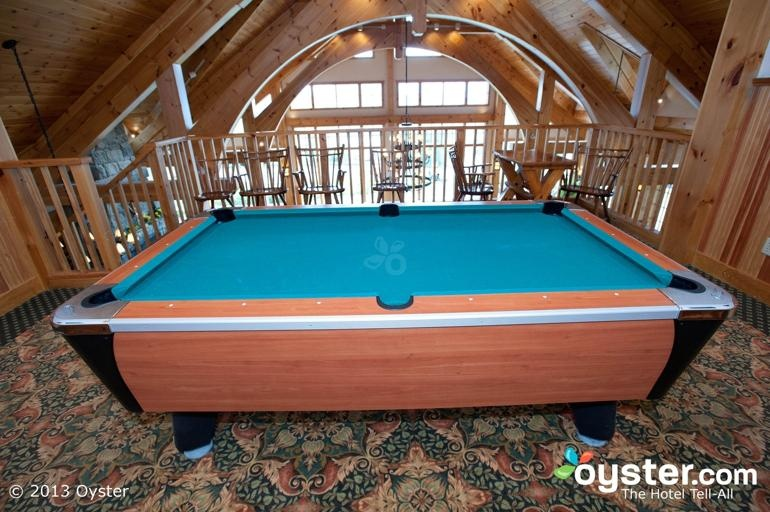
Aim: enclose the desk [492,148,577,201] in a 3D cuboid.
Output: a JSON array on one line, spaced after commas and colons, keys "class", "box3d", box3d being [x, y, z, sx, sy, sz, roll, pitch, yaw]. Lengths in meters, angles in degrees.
[{"class": "desk", "box3d": [1.718, -0.858, 5.486, 0.648, 0.644, 1.085, -1, 17, -5]}]
